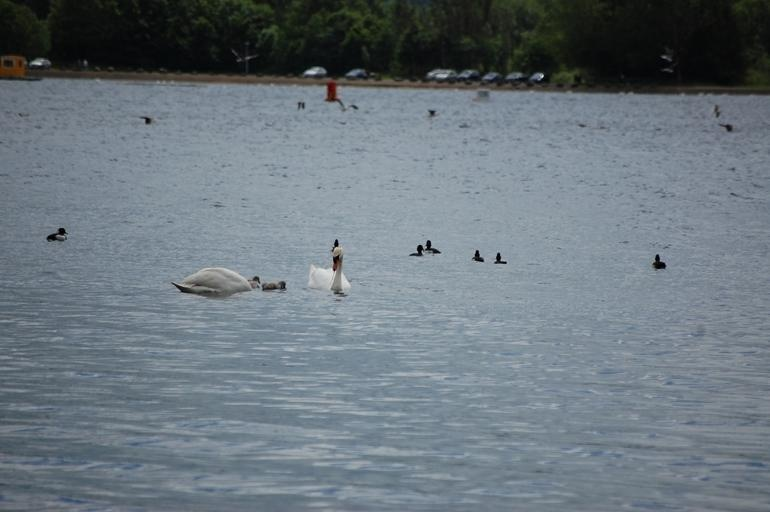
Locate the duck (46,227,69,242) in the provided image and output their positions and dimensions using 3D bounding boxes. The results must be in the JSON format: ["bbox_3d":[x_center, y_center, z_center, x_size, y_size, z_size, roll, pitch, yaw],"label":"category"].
[{"bbox_3d":[-12.124,-0.770,41.726,0.880,0.497,0.347,0,86,36],"label":"duck"}]

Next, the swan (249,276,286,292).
[{"bbox_3d":[-4.137,0.903,37.581,1.673,0.443,0.599,5,87,-5],"label":"swan"}]

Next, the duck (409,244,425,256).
[{"bbox_3d":[1.185,-0.221,41.438,0.270,0.263,0.703,7,17,21],"label":"duck"}]

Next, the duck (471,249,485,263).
[{"bbox_3d":[3.361,0.050,40.991,0.423,0.185,0.449,2,40,0],"label":"duck"}]

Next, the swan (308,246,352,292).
[{"bbox_3d":[-1.833,0.650,37.476,1.405,1.415,1.461,-7,52,-9],"label":"swan"}]

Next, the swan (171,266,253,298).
[{"bbox_3d":[-5.624,0.796,37.141,2.127,0.961,3.058,-2,13,-1],"label":"swan"}]

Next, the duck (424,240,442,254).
[{"bbox_3d":[1.771,-0.267,42.048,0.574,0.649,0.807,3,51,0],"label":"duck"}]
